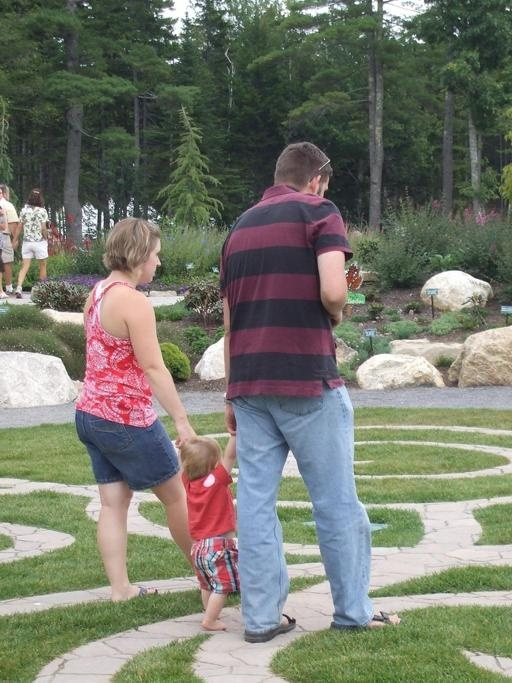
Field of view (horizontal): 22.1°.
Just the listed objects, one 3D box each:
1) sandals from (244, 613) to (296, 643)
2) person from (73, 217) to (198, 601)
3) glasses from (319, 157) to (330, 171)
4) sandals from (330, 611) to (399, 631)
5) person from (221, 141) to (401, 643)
[{"bbox_3d":[0.074,1.743,7.967,0.123,0.094,0.326,4,8,41],"label":"sandals"},{"bbox_3d":[-0.786,0.463,8.460,0.731,2.491,0.551,-1,9,-8],"label":"person"},{"bbox_3d":[0.429,-1.114,8.130,0.031,0.131,0.022,38,-6,2],"label":"glasses"},{"bbox_3d":[0.665,1.685,7.919,0.358,0.084,0.140,-4,-5,-11],"label":"sandals"},{"bbox_3d":[0.288,0.295,8.034,0.958,3.001,0.863,0,9,-3],"label":"person"}]
